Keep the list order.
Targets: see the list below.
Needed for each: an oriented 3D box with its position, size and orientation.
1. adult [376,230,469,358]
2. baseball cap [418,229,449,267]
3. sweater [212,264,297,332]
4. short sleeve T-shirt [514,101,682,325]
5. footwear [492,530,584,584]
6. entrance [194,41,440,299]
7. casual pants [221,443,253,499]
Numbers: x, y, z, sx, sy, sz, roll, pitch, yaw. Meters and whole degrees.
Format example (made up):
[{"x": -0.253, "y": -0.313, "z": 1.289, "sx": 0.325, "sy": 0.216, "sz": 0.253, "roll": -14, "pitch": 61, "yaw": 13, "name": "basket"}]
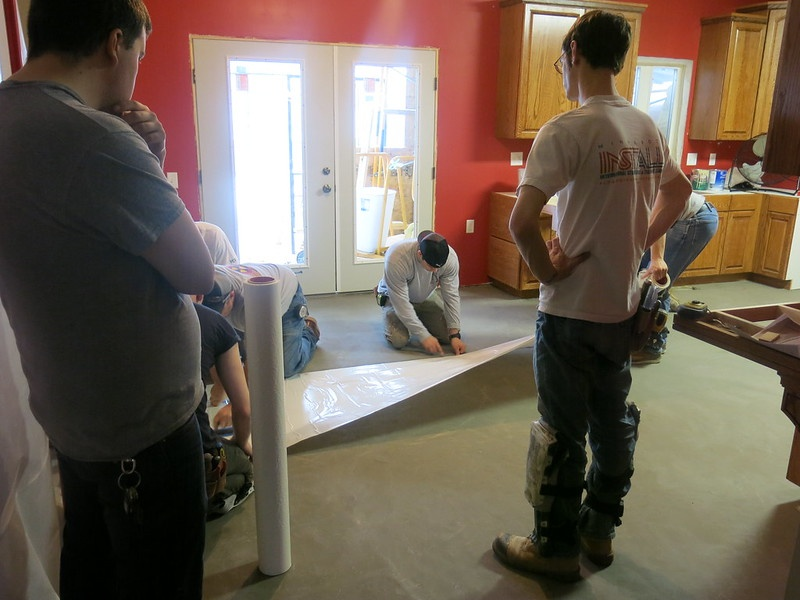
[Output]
[{"x": 0.160, "y": -0.117, "z": 4.178, "sx": 0.512, "sy": 0.921, "sz": 0.751, "roll": -14, "pitch": 32, "yaw": -26, "name": "adult"}, {"x": 0.211, "y": -0.304, "z": 3.896, "sx": 0.187, "sy": 0.246, "sz": 0.267, "roll": -1, "pitch": 13, "yaw": 1, "name": "baseball cap"}, {"x": -0.773, "y": -0.071, "z": 3.215, "sx": 0.338, "sy": 0.545, "sz": 0.196, "roll": 0, "pitch": 37, "yaw": -20, "name": "sweater"}, {"x": 0.677, "y": -0.305, "z": 2.038, "sx": 0.595, "sy": 0.740, "sz": 0.204, "roll": -8, "pitch": 14, "yaw": -24, "name": "short sleeve T-shirt"}, {"x": 0.495, "y": 0.947, "z": 2.295, "sx": 0.344, "sy": 0.170, "sz": 0.125, "roll": 12, "pitch": 13, "yaw": 39, "name": "footwear"}, {"x": -0.705, "y": -1.136, "z": 4.888, "sx": 2.050, "sy": 2.171, "sz": 0.221, "roll": -4, "pitch": 23, "yaw": -12, "name": "entrance"}, {"x": -0.679, "y": 0.711, "z": 2.485, "sx": 0.197, "sy": 0.171, "sz": 0.071, "roll": 8, "pitch": 0, "yaw": -36, "name": "casual pants"}]
